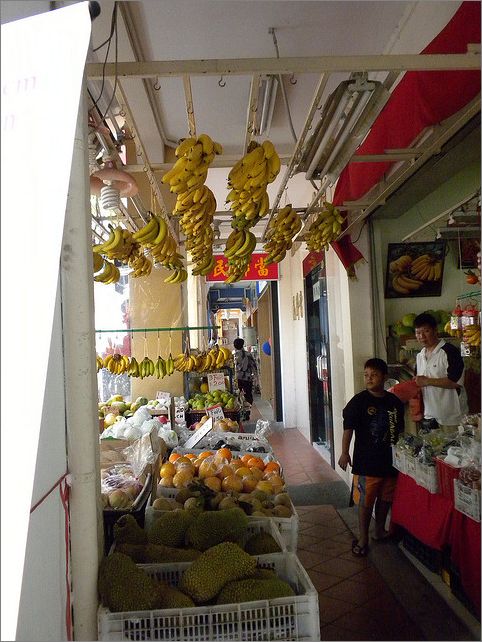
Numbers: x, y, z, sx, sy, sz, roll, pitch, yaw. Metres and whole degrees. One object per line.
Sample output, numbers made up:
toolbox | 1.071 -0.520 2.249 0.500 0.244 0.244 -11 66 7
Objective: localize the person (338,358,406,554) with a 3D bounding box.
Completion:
person | 0.960 0.893 3.272 0.490 1.416 0.501 0 8 -39

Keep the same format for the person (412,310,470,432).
person | 1.567 0.432 3.526 0.480 1.238 0.301 -2 -1 -4

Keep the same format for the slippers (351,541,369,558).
slippers | 0.861 1.633 3.121 0.117 0.049 0.157 -7 -4 14

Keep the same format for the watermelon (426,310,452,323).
watermelon | 1.918 -0.042 4.186 0.207 0.128 0.159 2 -1 -45
